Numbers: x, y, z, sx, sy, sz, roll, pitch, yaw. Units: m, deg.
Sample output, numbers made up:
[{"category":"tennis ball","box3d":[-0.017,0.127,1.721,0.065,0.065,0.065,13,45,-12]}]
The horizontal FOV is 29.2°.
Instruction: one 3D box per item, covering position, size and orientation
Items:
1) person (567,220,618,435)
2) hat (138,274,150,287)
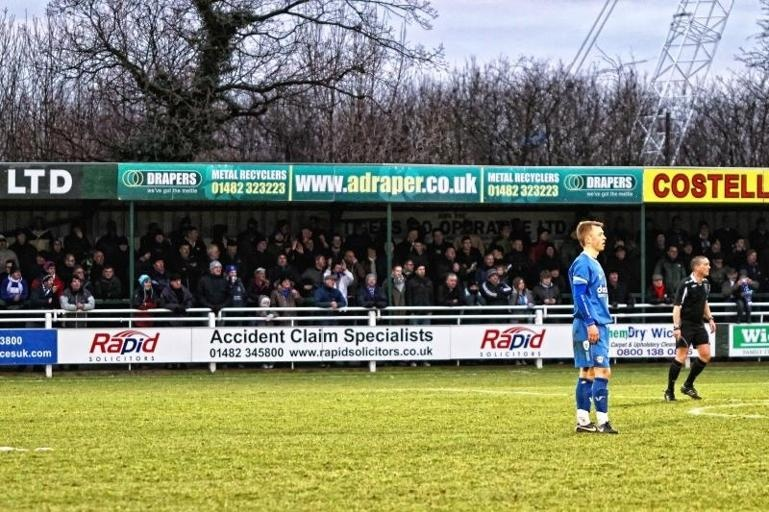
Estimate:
[{"category":"person","box3d":[4.389,1.556,30.760,0.947,4.370,1.022,0,15,0]},{"category":"hat","box3d":[-6.158,0.615,37.438,0.288,0.264,0.405,-3,15,-12]}]
